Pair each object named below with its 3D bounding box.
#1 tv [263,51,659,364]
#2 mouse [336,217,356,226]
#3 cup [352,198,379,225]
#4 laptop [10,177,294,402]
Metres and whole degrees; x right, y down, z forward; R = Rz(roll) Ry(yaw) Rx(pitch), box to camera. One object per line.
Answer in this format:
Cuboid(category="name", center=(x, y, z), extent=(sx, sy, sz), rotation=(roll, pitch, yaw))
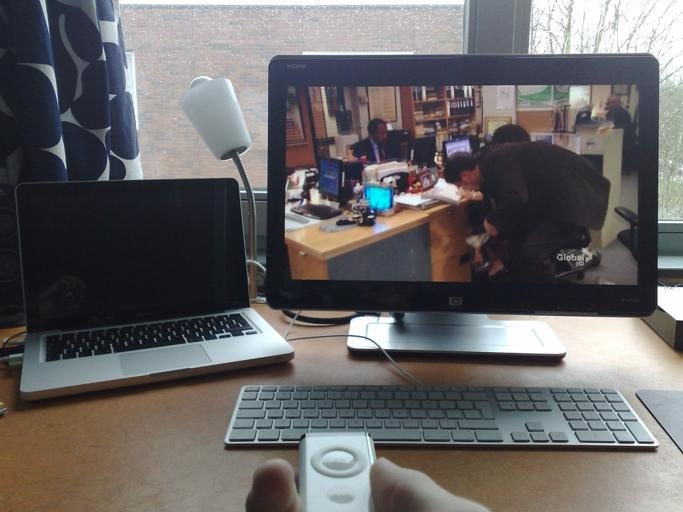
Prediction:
Cuboid(category="tv", center=(0.217, -0.102, 1.012), extent=(0.566, 0.423, 0.165), rotation=(1, 6, 5))
Cuboid(category="mouse", center=(0.005, -0.064, 1.027), extent=(0.028, 0.010, 0.015), rotation=(-1, 18, 2))
Cuboid(category="cup", center=(0.041, -0.078, 1.028), extent=(0.053, 0.052, 0.034), rotation=(-1, 8, 14))
Cuboid(category="laptop", center=(-0.350, 0.029, 1.021), extent=(0.434, 0.292, 0.324), rotation=(-5, 18, -27))
